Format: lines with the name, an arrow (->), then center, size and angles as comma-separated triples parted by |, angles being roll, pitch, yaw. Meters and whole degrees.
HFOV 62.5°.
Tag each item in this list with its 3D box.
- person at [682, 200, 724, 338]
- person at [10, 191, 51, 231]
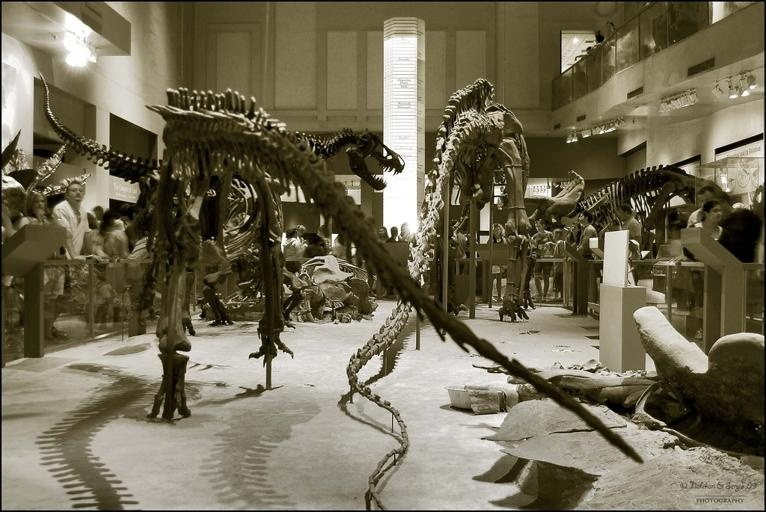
person -> 3.748, 0.137, 7.497 | 0.363, 1.619, 1.430 | 5, 12, 26
person -> -4.825, -0.637, 8.655 | 0.312, 0.528, 1.202 | -3, 11, -16
